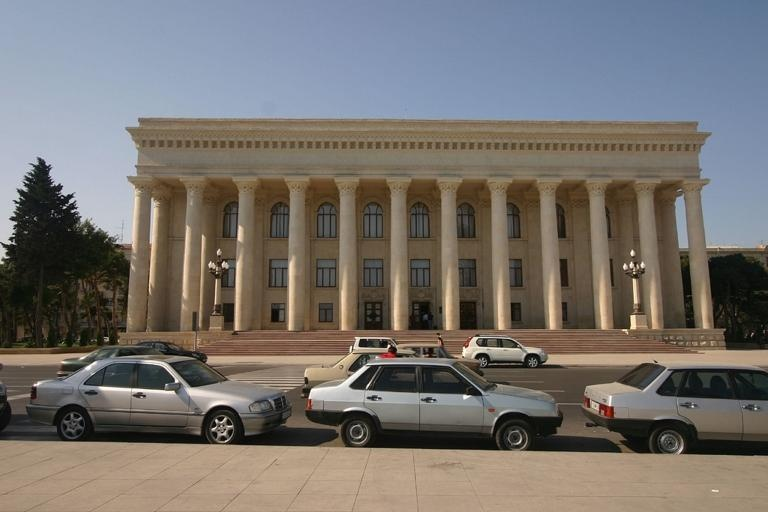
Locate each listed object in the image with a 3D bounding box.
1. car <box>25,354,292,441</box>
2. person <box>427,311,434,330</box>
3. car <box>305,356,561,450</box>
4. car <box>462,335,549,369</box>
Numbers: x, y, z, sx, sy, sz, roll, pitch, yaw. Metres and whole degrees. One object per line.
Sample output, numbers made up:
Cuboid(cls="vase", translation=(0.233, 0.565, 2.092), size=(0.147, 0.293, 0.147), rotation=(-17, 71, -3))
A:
Cuboid(cls="car", translation=(-5.881, 3.921, 16.338), size=(6.467, 1.696, 2.605), rotation=(0, -6, 2))
Cuboid(cls="person", translation=(3.667, 5.063, 47.677), size=(0.456, 1.247, 1.002), rotation=(0, 0, 1))
Cuboid(cls="car", translation=(1.313, 3.828, 16.041), size=(6.179, 1.751, 2.552), rotation=(-1, -5, 3))
Cuboid(cls="car", translation=(6.421, 5.125, 32.317), size=(4.329, 1.399, 1.825), rotation=(-1, -5, 2))
